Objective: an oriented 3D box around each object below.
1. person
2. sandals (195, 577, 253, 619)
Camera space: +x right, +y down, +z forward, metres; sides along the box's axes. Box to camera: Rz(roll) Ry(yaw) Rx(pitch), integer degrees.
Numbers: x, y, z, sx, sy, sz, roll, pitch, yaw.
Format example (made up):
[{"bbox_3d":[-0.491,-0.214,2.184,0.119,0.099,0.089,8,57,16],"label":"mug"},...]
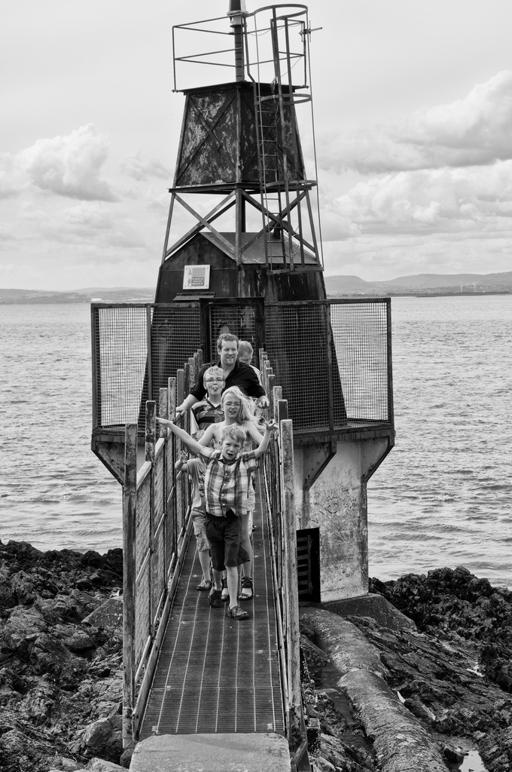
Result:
[{"bbox_3d":[-0.245,0.837,6.705,0.702,1.667,1.342,-1,5,-5],"label":"person"},{"bbox_3d":[-0.236,1.595,6.422,0.150,0.271,0.545,-2,3,-29],"label":"sandals"}]
